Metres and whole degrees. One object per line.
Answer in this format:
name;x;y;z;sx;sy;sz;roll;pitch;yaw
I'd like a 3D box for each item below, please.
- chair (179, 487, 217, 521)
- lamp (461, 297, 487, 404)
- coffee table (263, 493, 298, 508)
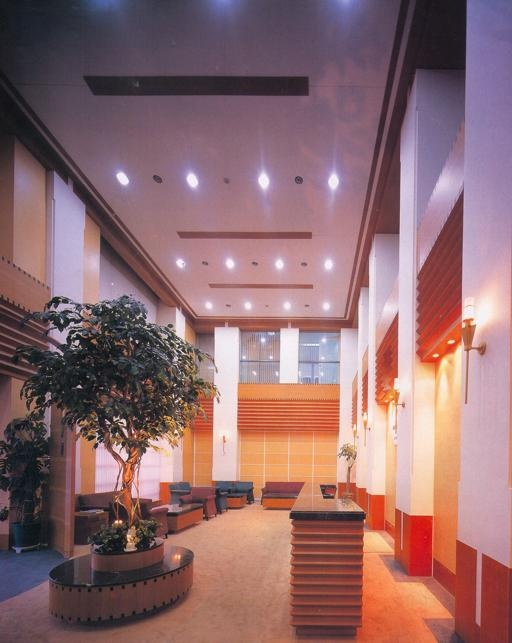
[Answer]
chair;-1.644;4.949;13.616;0.838;1.278;0.902;-6;-18;16
lamp;1.537;0.219;3.498;0.137;0.757;0.122;4;9;41
coffee table;0.734;5.899;15.869;1.035;0.409;0.569;-1;-15;2
